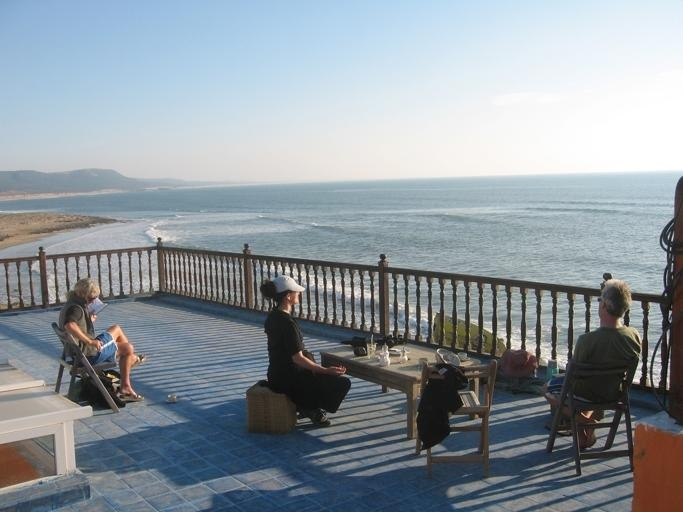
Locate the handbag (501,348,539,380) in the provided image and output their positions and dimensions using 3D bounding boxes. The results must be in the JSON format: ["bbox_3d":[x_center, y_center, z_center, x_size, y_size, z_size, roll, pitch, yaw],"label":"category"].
[{"bbox_3d":[2.334,1.414,8.089,0.456,0.251,0.430,-3,6,-34],"label":"handbag"}]

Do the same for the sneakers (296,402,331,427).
[{"bbox_3d":[-0.429,1.827,7.027,0.545,0.178,0.178,2,7,26],"label":"sneakers"}]

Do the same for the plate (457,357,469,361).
[{"bbox_3d":[1.331,1.144,6.779,0.130,0.024,0.110,-1,6,-2],"label":"plate"}]

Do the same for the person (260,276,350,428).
[{"bbox_3d":[-0.430,1.082,6.912,0.916,1.716,0.584,-3,13,-6],"label":"person"}]

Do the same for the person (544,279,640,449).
[{"bbox_3d":[2.550,1.119,6.071,0.807,1.771,0.596,0,13,7],"label":"person"}]

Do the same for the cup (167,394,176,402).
[{"bbox_3d":[-2.152,1.795,7.697,0.089,0.075,0.079,9,19,23],"label":"cup"}]

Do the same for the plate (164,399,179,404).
[{"bbox_3d":[-2.156,1.815,7.656,0.161,0.055,0.091,-2,10,-2],"label":"plate"}]

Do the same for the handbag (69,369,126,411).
[{"bbox_3d":[-3.115,1.702,7.608,0.662,0.187,0.466,8,4,-38],"label":"handbag"}]

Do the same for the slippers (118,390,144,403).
[{"bbox_3d":[-2.689,1.789,7.765,0.308,0.095,0.123,-2,5,-10],"label":"slippers"}]

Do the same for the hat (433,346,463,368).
[{"bbox_3d":[1.185,1.131,6.832,0.413,0.132,0.648,1,6,7],"label":"hat"}]

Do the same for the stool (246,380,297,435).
[{"bbox_3d":[-0.805,1.716,6.943,0.614,0.385,0.520,0,3,4],"label":"stool"}]

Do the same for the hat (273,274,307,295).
[{"bbox_3d":[-0.588,0.321,6.873,0.322,0.115,0.197,-1,11,-16],"label":"hat"}]

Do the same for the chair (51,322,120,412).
[{"bbox_3d":[-3.174,1.414,7.661,0.871,0.884,0.647,10,0,-21],"label":"chair"}]
